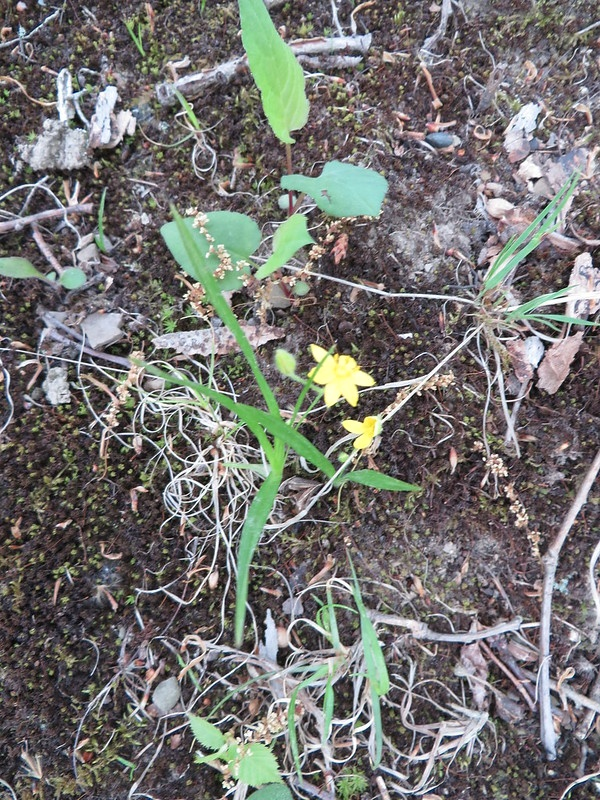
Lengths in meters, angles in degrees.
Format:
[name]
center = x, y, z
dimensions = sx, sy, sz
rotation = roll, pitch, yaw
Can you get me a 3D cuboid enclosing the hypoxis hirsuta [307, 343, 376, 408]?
[hypoxis hirsuta]
center = 0.101, -0.045, 1.896
dimensions = 0.133, 0.068, 0.187
rotation = -6, 87, 2
